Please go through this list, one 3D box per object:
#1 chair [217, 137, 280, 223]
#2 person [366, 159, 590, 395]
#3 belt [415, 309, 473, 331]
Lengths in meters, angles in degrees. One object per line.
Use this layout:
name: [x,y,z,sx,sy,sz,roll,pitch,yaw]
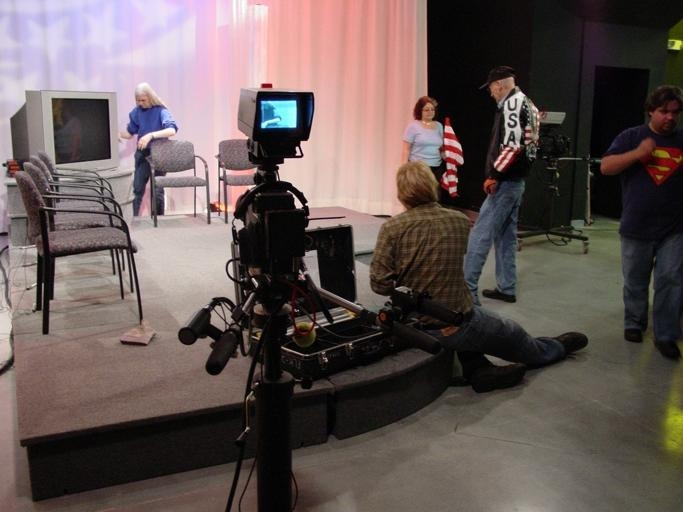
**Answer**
chair: [-1.326,-0.976,6.492,0.499,0.994,1.642,-4,12,-13]
person: [0.829,0.097,3.186,1.274,1.410,0.910,-7,11,1]
belt: [0.468,0.286,2.250,0.205,0.098,0.216,-2,4,-23]
